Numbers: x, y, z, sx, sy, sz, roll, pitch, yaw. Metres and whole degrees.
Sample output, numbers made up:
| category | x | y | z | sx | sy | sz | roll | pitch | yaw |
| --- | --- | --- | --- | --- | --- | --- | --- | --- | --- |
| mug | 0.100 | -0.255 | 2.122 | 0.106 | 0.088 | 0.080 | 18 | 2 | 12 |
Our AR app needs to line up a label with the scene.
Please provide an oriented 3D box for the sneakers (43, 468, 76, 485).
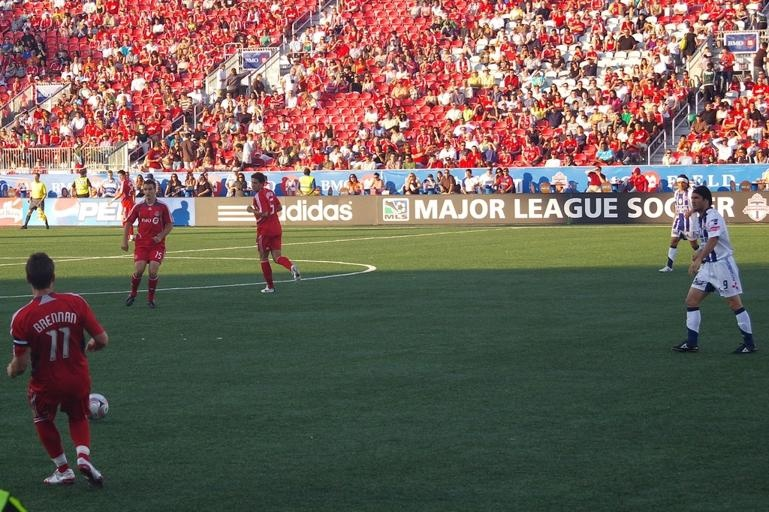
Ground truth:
| category | x | y | z | sx | sy | sz | roll | pitch | yaw |
| --- | --- | --- | --- | --- | --- | --- | --- | --- | --- |
| sneakers | -4.030 | 2.736 | 13.866 | 0.360 | 0.163 | 0.186 | 2 | -2 | 10 |

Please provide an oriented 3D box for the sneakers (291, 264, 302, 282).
| category | x | y | z | sx | sy | sz | roll | pitch | yaw |
| --- | --- | --- | --- | --- | --- | --- | --- | --- | --- |
| sneakers | -1.850 | 0.358 | 23.420 | 0.169 | 0.425 | 0.201 | -16 | 39 | -11 |

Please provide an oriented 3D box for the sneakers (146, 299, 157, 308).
| category | x | y | z | sx | sy | sz | roll | pitch | yaw |
| --- | --- | --- | --- | --- | --- | --- | --- | --- | --- |
| sneakers | -4.350 | 0.886 | 20.798 | 0.095 | 0.114 | 0.267 | -5 | -3 | -31 |

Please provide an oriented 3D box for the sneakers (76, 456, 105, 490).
| category | x | y | z | sx | sy | sz | roll | pitch | yaw |
| --- | --- | --- | --- | --- | --- | --- | --- | --- | --- |
| sneakers | -3.645 | 2.653 | 13.750 | 0.189 | 0.508 | 0.222 | -39 | 39 | -12 |

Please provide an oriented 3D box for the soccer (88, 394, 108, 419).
| category | x | y | z | sx | sy | sz | roll | pitch | yaw |
| --- | --- | --- | --- | --- | --- | --- | --- | --- | --- |
| soccer | -3.625 | 1.918 | 14.237 | 0.251 | 0.284 | 0.305 | 1 | -15 | 9 |

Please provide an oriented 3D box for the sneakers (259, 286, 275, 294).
| category | x | y | z | sx | sy | sz | roll | pitch | yaw |
| --- | --- | --- | --- | --- | --- | --- | --- | --- | --- |
| sneakers | -2.363 | 0.667 | 22.283 | 0.265 | 0.146 | 0.127 | 3 | 1 | 11 |

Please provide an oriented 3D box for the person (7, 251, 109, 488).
| category | x | y | z | sx | sy | sz | roll | pitch | yaw |
| --- | --- | --- | --- | --- | --- | --- | --- | --- | --- |
| person | -4.063 | 1.395 | 13.849 | 1.093 | 2.794 | 0.818 | 0 | 14 | 5 |

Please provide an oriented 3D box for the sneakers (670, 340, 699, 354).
| category | x | y | z | sx | sy | sz | roll | pitch | yaw |
| --- | --- | --- | --- | --- | --- | --- | --- | --- | --- |
| sneakers | 4.641 | 1.424 | 17.396 | 0.453 | 0.180 | 0.162 | 2 | -3 | 8 |

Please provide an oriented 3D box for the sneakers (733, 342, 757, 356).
| category | x | y | z | sx | sy | sz | roll | pitch | yaw |
| --- | --- | --- | --- | --- | --- | --- | --- | --- | --- |
| sneakers | 5.557 | 1.430 | 17.218 | 0.394 | 0.160 | 0.150 | 0 | 2 | 3 |

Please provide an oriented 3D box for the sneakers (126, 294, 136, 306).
| category | x | y | z | sx | sy | sz | roll | pitch | yaw |
| --- | --- | --- | --- | --- | --- | --- | --- | --- | --- |
| sneakers | -4.761 | 0.812 | 21.003 | 0.147 | 0.214 | 0.222 | 5 | 20 | -46 |

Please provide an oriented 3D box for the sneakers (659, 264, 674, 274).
| category | x | y | z | sx | sy | sz | roll | pitch | yaw |
| --- | --- | --- | --- | --- | --- | --- | --- | --- | --- |
| sneakers | 6.216 | 0.247 | 24.409 | 0.446 | 0.180 | 0.147 | -2 | 7 | 8 |
